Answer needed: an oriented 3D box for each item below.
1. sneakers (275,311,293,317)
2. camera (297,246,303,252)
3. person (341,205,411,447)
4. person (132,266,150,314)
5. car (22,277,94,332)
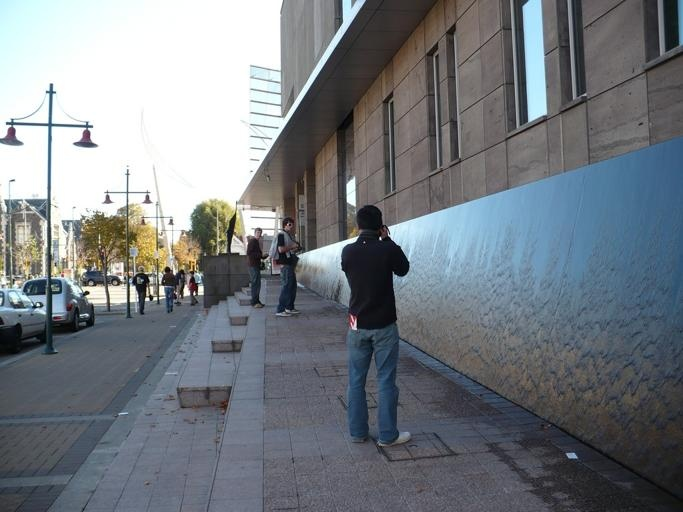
[{"bbox_3d":[-1.289,1.260,12.399,0.317,0.178,0.133,-2,2,-10],"label":"sneakers"},{"bbox_3d":[-0.904,-0.177,12.295,0.101,0.128,0.204,-4,-8,-4],"label":"camera"},{"bbox_3d":[0.334,0.641,5.259,0.620,2.254,0.359,-3,0,3],"label":"person"},{"bbox_3d":[-8.905,1.555,24.564,0.554,2.029,1.406,-3,0,-21],"label":"person"},{"bbox_3d":[-9.117,1.433,18.114,1.315,1.415,2.737,-1,5,-11],"label":"car"}]
